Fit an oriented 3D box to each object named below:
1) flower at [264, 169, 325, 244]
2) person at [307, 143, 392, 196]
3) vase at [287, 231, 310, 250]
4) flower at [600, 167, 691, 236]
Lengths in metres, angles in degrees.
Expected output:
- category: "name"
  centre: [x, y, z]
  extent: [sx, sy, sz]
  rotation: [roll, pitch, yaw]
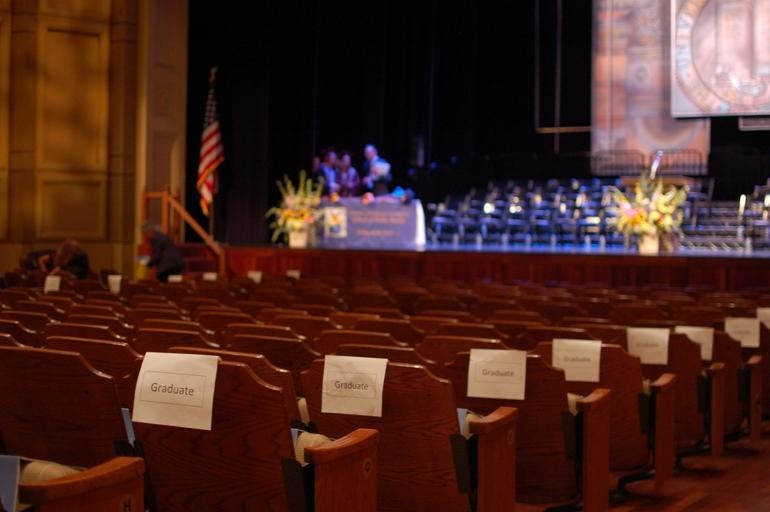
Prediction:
- category: "flower"
  centre: [-1.433, -0.706, 12.306]
  extent: [0.846, 1.181, 0.873]
  rotation: [-2, 2, -33]
- category: "person"
  centre: [-0.583, -1.727, 13.367]
  extent: [1.225, 0.992, 1.628]
  rotation: [5, -3, -6]
- category: "vase"
  centre: [-1.440, -0.247, 12.057]
  extent: [0.292, 0.223, 0.303]
  rotation: [-2, -3, 38]
- category: "flower"
  centre: [3.954, -0.708, 11.073]
  extent: [1.227, 0.668, 1.450]
  rotation: [1, 12, 8]
